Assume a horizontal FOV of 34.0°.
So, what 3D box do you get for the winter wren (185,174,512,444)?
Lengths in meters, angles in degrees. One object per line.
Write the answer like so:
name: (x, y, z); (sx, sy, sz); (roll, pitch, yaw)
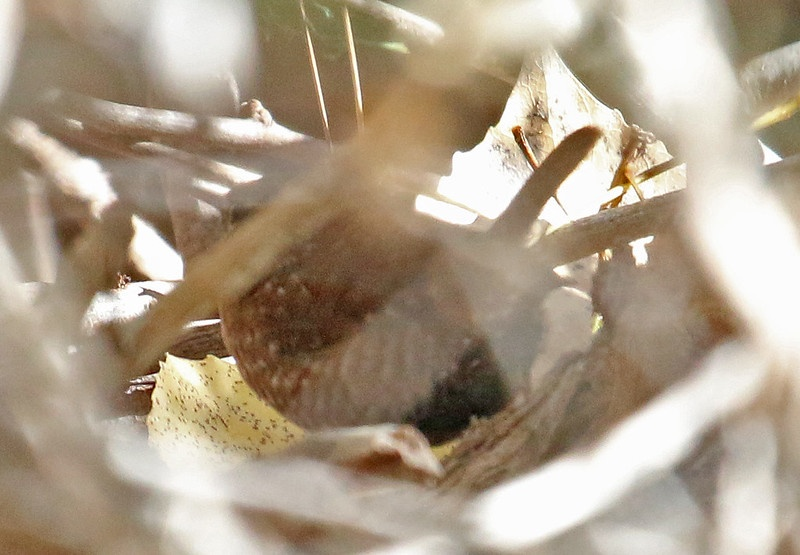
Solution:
winter wren: (-0.021, 0.036, 0.698); (0.122, 0.039, 0.128); (-27, 81, -8)
